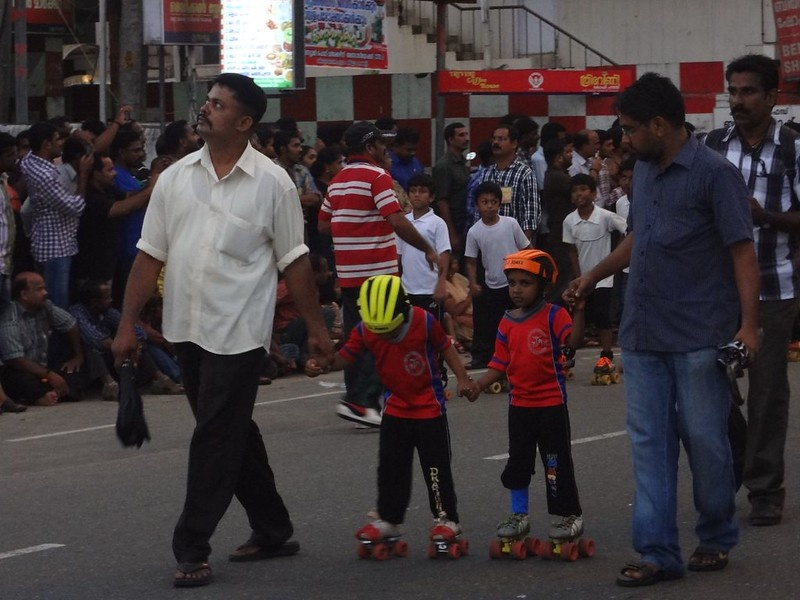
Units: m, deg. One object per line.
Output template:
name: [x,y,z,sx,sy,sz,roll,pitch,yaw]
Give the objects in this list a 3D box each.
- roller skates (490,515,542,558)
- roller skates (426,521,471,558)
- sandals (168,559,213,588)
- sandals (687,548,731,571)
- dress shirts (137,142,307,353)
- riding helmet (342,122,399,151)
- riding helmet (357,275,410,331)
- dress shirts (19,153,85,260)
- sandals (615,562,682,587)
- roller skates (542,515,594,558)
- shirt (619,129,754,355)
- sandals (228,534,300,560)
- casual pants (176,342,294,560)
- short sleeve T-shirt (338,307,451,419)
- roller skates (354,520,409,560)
roller skates: [0.633,1.294,6.011,0.194,0.222,0.288,-4,-6,29]
roller skates: [0.264,1.317,6.080,0.143,0.230,0.447,1,-7,12]
sandals: [-1.045,1.385,5.549,0.187,0.068,0.104,1,9,-1]
sandals: [1.593,1.335,5.649,0.201,0.073,0.097,2,1,0]
dress shirts: [-0.949,-0.287,5.879,0.981,1.062,0.543,6,8,13]
riding helmet: [-0.292,-1.347,9.131,0.190,0.246,0.381,5,8,41]
riding helmet: [-0.087,0.018,5.966,0.248,0.266,0.304,0,-30,12]
dress shirts: [-3.333,-0.882,10.570,0.624,1.048,0.394,-1,6,-2]
sandals: [1.241,1.356,5.514,0.316,0.096,0.123,0,2,-26]
roller skates: [0.925,1.292,5.995,0.182,0.217,0.319,-1,-2,36]
shirt: [1.459,-0.271,5.573,0.616,1.080,0.271,1,7,21]
sandals: [-0.743,1.371,6.056,0.383,0.155,0.129,-1,-2,-19]
casual pants: [-0.881,0.801,5.762,0.647,1.161,0.425,-3,6,-15]
short sleeve T-shirt: [-0.044,0.404,6.638,0.750,0.733,0.399,-9,-15,4]
roller skates: [-0.098,1.319,6.060,0.309,0.198,0.180,4,-3,-44]
